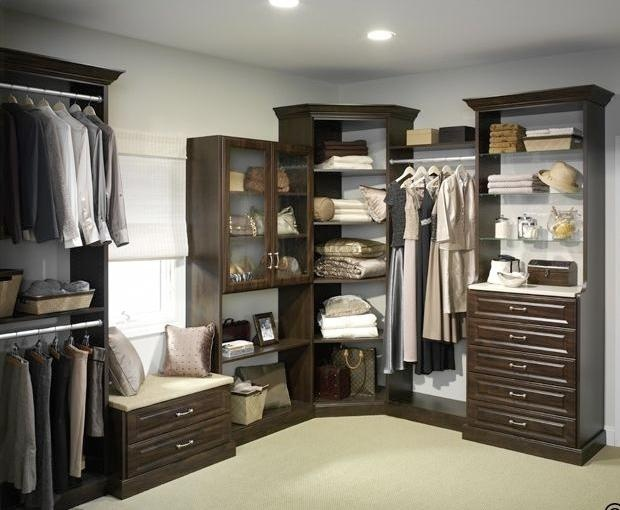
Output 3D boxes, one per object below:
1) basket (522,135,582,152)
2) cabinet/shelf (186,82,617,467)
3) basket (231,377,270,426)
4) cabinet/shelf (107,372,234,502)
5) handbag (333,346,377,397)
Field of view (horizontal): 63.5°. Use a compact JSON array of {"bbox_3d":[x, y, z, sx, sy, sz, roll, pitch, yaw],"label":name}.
[{"bbox_3d":[1.781,-0.806,3.677,0.390,0.107,0.151,3,7,22],"label":"basket"},{"bbox_3d":[0.955,0.230,5.278,4.213,3.905,2.429,-1,-1,28],"label":"cabinet/shelf"},{"bbox_3d":[-0.484,1.124,3.964,0.258,0.267,0.324,0,-1,32],"label":"basket"},{"bbox_3d":[-0.907,0.946,3.268,0.497,0.620,0.934,0,1,37],"label":"cabinet/shelf"},{"bbox_3d":[0.373,1.103,4.677,0.433,0.443,0.209,2,-11,-20],"label":"handbag"}]
